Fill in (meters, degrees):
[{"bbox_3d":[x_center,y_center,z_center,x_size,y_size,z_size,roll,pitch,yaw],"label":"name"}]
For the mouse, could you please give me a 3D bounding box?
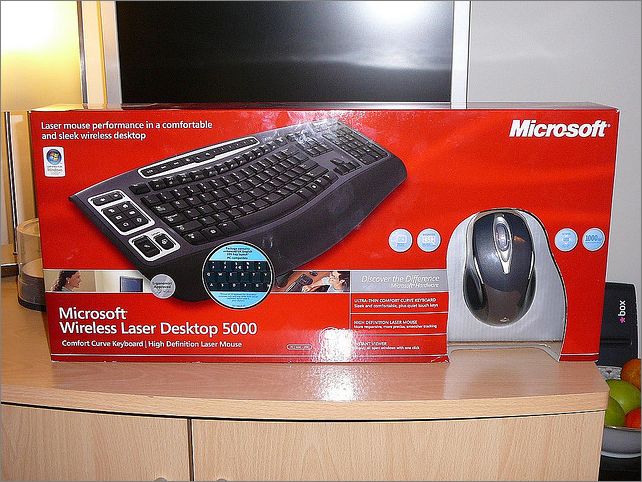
[{"bbox_3d":[0.298,0.045,0.868,0.127,0.166,0.051,0,10,-7],"label":"mouse"}]
